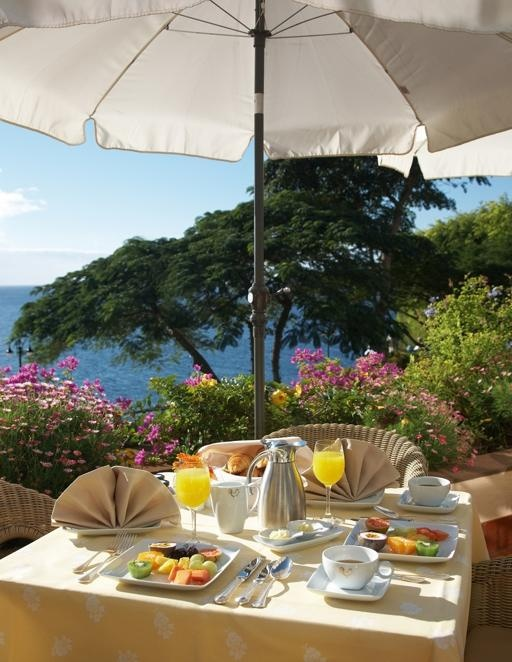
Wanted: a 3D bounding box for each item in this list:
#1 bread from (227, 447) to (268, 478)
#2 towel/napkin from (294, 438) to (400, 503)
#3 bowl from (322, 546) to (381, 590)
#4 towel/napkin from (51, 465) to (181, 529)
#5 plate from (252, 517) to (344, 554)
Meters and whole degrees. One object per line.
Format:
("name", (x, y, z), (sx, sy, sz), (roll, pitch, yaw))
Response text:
("bread", (-0.017, 0.404, 1.806), (0.122, 0.037, 0.086), (6, 17, -23))
("towel/napkin", (0.262, 0.417, 1.726), (0.304, 0.105, 0.247), (-1, 4, 1))
("bowl", (0.181, 0.448, 1.121), (0.077, 0.041, 0.075), (0, -9, 0))
("towel/napkin", (-0.353, 0.437, 1.447), (0.218, 0.075, 0.195), (2, 16, -4))
("plate", (0.097, 0.486, 1.388), (0.088, 0.021, 0.135), (-1, 0, 26))
